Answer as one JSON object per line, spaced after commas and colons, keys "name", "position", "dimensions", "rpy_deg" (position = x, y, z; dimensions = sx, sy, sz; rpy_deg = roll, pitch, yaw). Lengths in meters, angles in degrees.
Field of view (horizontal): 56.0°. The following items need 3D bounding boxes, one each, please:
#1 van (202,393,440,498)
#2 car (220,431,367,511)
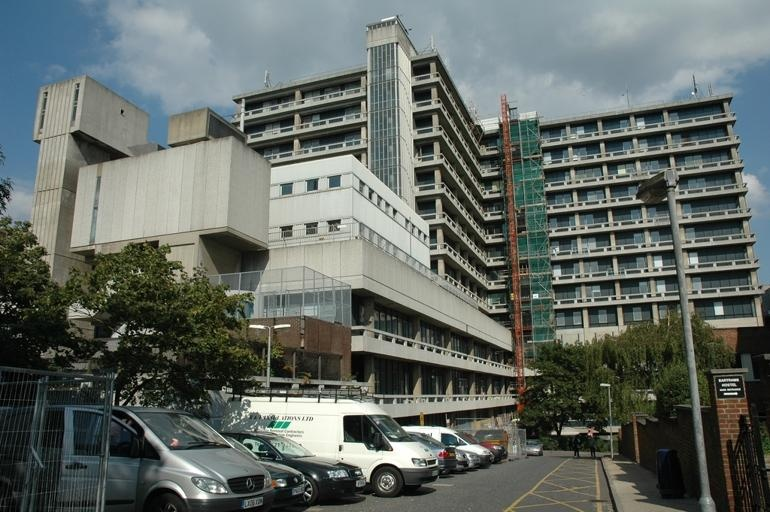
{"name": "van", "position": [-2.551, 8.413, 32.418], "dimensions": [9.400, 3.526, 4.037], "rpy_deg": [-3, -14, 12]}
{"name": "car", "position": [-3.710, 8.491, 29.122], "dimensions": [5.605, 1.919, 2.619], "rpy_deg": [-4, -15, 20]}
